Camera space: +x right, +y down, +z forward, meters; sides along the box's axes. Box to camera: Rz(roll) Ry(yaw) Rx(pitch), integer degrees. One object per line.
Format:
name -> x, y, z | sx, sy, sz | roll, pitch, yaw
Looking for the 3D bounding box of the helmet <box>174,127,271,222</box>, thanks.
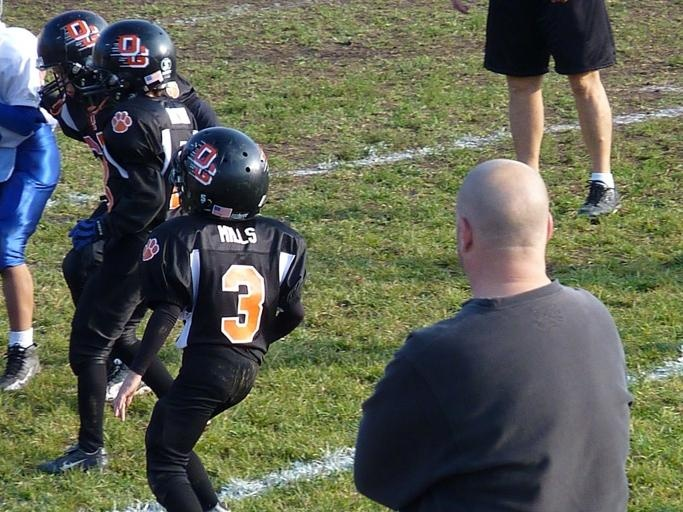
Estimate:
helmet -> -0.577, -0.399, 4.969 | 0.542, 0.365, 0.560 | -11, 28, -32
